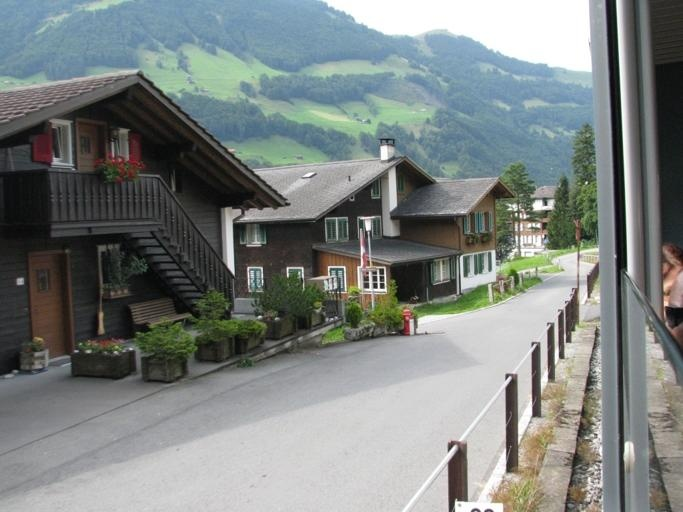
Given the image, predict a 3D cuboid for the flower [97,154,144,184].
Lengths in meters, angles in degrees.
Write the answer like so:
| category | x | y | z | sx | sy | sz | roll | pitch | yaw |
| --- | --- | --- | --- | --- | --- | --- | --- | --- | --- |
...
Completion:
| category | x | y | z | sx | sy | sz | roll | pitch | yaw |
| --- | --- | --- | --- | --- | --- | --- | --- | --- | --- |
| flower | -5.585 | -2.124 | 18.556 | 0.513 | 0.650 | 1.510 | 1 | 6 | 15 |
